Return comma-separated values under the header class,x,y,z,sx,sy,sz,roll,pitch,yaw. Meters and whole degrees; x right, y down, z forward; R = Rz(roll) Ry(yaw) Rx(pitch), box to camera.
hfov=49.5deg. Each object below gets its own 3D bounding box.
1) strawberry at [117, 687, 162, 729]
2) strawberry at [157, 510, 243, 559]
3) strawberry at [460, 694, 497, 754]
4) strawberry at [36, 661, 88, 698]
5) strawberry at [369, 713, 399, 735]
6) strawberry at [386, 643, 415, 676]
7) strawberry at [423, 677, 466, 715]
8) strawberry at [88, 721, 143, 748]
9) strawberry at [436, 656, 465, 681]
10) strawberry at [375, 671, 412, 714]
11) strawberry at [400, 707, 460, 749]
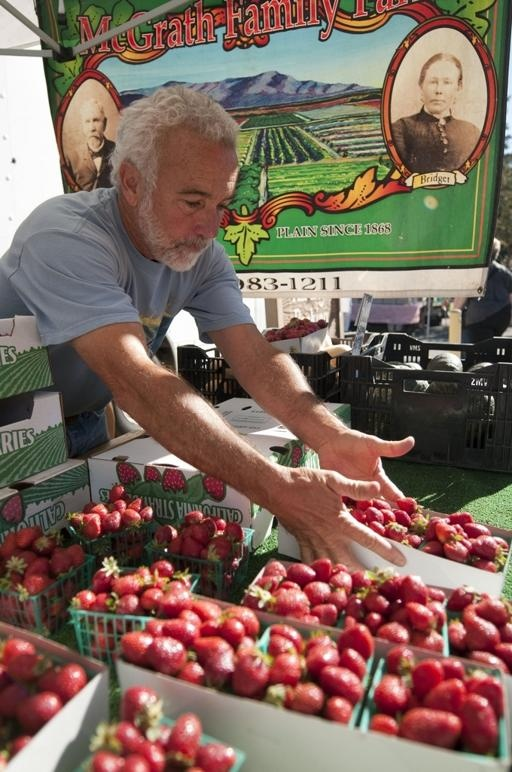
class,x,y,z,sx,sy,sz,roll,pitch,yaw
strawberry,-0.160,0.442,0.773,0.044,0.045,0.059,3,-3,1
strawberry,-0.148,0.400,1.443,0.216,0.095,0.171,6,14,28
strawberry,0.294,0.442,0.747,0.037,0.066,0.039,-20,-15,41
strawberry,-0.295,0.427,0.825,0.044,0.025,0.044,2,9,9
strawberry,0.176,0.461,0.760,0.027,0.026,0.025,0,8,7
strawberry,0.223,0.425,0.863,0.043,0.041,0.042,-11,25,-8
strawberry,0.263,0.430,0.781,0.050,0.036,0.027,-15,-2,7
strawberry,-0.183,0.457,0.730,0.066,0.021,0.036,-4,12,-13
strawberry,0.294,0.420,0.832,0.027,0.025,0.024,-2,54,4
strawberry,0.201,0.440,0.814,0.037,0.026,0.049,-12,12,-27
strawberry,0.232,0.461,0.746,0.078,0.050,0.051,4,13,24
